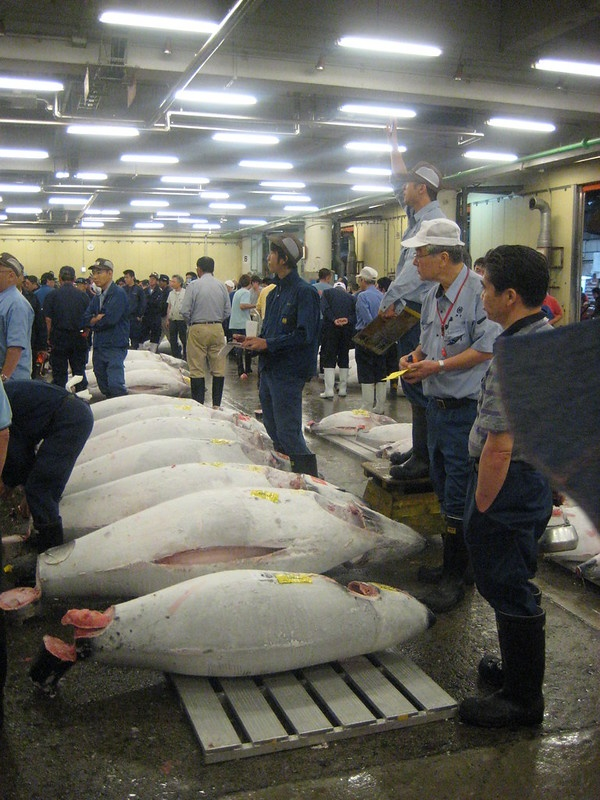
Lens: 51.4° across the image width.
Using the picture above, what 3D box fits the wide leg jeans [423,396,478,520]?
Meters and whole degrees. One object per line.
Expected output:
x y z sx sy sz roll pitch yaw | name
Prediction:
0.881 0.322 3.553 0.267 0.705 0.353 -4 1 -23 | wide leg jeans

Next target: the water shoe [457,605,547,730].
0.773 1.034 2.405 0.352 0.408 0.185 4 -7 1 | water shoe

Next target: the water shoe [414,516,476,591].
0.834 0.845 3.496 0.349 0.436 0.280 3 -4 13 | water shoe

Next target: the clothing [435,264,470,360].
0.849 -0.496 3.429 0.215 0.481 0.408 -9 23 -3 | clothing

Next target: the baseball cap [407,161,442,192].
0.964 -1.702 4.710 0.293 0.160 0.174 31 15 2 | baseball cap

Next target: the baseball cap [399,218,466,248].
0.746 -0.912 3.438 0.288 0.116 0.184 2 12 3 | baseball cap

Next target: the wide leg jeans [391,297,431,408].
0.925 -0.315 5.155 0.292 0.858 0.232 -21 38 -4 | wide leg jeans
